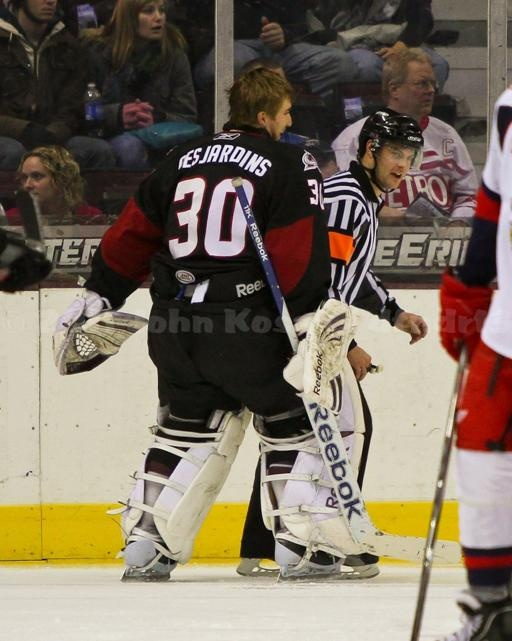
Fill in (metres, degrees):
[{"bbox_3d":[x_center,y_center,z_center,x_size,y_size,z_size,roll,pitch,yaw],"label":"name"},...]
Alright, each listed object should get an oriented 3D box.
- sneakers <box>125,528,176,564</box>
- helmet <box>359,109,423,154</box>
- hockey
[{"bbox_3d":[-0.290,0.659,2.704,0.100,0.109,0.109,21,-22,7],"label":"sneakers"},{"bbox_3d":[0.500,-0.668,3.303,0.221,0.167,0.158,2,6,18],"label":"helmet"},{"bbox_3d":[0.219,0.194,2.674,0.511,1.174,0.440,-4,9,-27],"label":"hockey"}]
